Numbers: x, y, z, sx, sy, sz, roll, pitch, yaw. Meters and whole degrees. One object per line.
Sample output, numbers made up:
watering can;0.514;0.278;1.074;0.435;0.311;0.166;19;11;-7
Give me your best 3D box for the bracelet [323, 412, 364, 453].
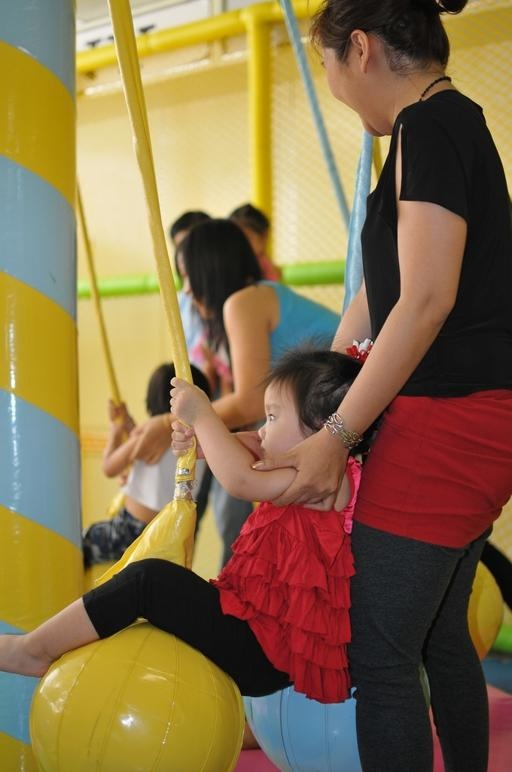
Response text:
bracelet;0.104;0.051;0.906;0.021;0.046;0.036;-49;-6;-31
